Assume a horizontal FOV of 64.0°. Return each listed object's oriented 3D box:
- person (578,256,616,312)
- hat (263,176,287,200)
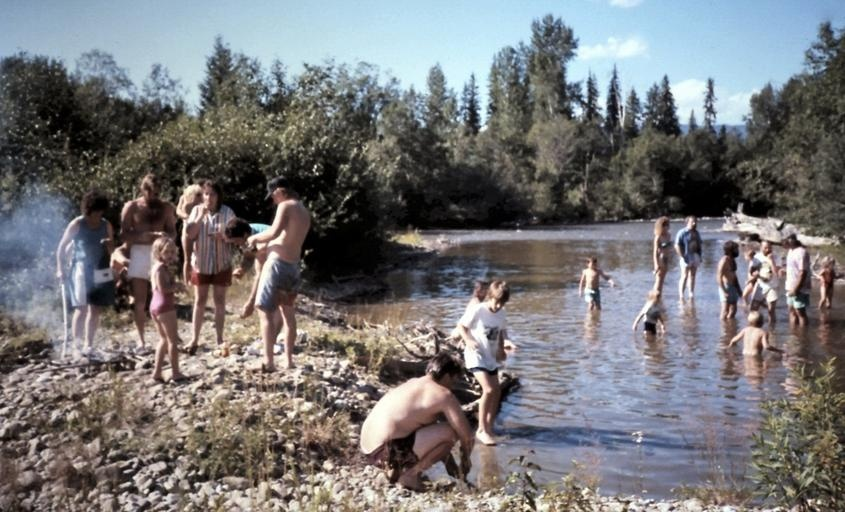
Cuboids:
[{"bbox_3d":[6.345,1.117,24.688,1.269,2.643,0.807,-7,6,-21],"label":"person"},{"bbox_3d":[-3.033,-1.459,14.265,0.400,0.399,0.292,-1,2,-7],"label":"hat"}]
